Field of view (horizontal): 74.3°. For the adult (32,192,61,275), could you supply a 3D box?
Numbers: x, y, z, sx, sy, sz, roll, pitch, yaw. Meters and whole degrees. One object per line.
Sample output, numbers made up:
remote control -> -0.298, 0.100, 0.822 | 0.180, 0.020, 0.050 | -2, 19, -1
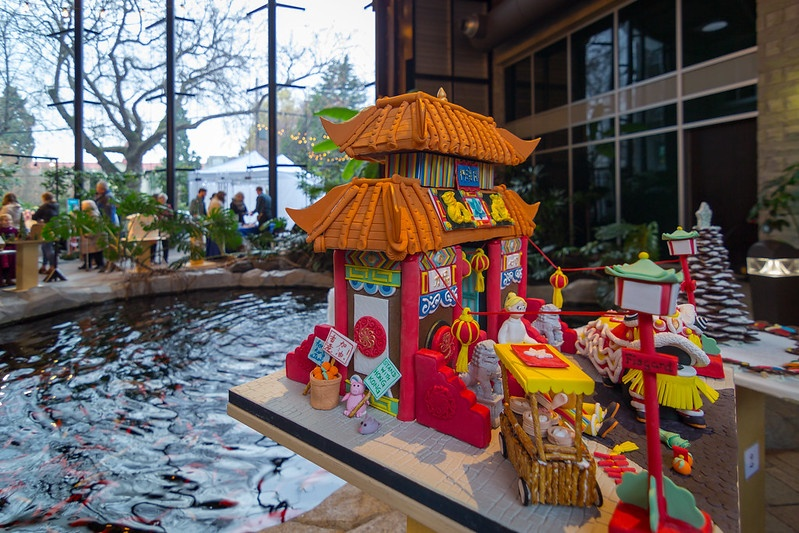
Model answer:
adult -> -8.151, -0.749, 12.214 | 0.493, 1.904, 2.031 | -7, 13, -34

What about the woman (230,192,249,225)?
woman -> -4.738, -1.737, 15.626 | 0.455, 0.944, 0.906 | -3, 11, -17

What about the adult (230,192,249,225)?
adult -> -4.770, -1.748, 15.681 | 0.483, 0.944, 1.034 | -2, 11, -16

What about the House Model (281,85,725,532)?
House Model -> 1.560, -0.203, 6.750 | 4.746, 4.336, 3.941 | 3, 6, 37

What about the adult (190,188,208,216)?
adult -> -5.614, -1.816, 14.656 | 0.424, 0.680, 1.898 | -3, 12, -21

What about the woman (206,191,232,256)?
woman -> -5.110, -1.130, 14.625 | 0.503, 1.666, 1.658 | 9, 15, 1

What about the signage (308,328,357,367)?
signage -> -0.733, 0.968, 5.955 | 0.482, 0.449, 0.130 | 34, 10, 18

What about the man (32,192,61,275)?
man -> -8.165, -0.755, 12.242 | 0.497, 1.904, 2.092 | -7, 13, -35

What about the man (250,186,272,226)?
man -> -3.949, -1.758, 15.272 | 0.538, 1.074, 1.051 | -2, 11, -15

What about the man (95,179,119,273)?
man -> -7.407, -1.155, 13.363 | 0.524, 1.821, 0.843 | -8, 6, -23

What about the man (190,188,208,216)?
man -> -5.581, -1.799, 14.573 | 0.424, 0.680, 2.081 | -3, 12, -21

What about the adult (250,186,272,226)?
adult -> -3.949, -1.758, 15.272 | 0.538, 1.074, 1.051 | -2, 11, -15
